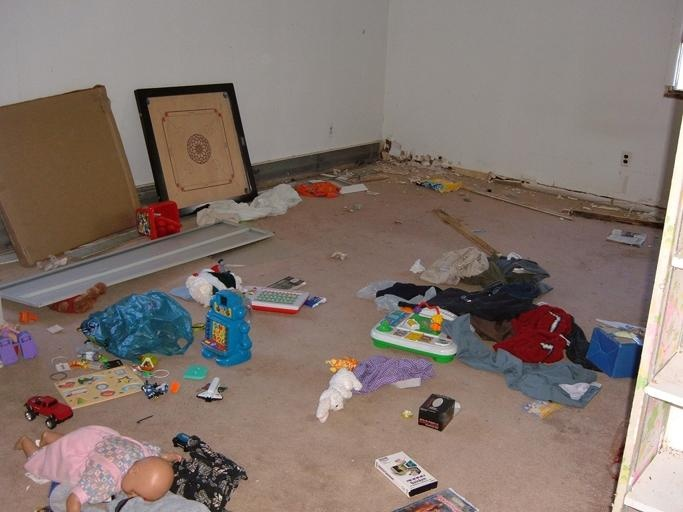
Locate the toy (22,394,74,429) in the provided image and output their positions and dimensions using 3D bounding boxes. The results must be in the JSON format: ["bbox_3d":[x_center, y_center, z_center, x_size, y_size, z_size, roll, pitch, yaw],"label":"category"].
[{"bbox_3d":[-1.465,0.754,2.441,0.207,0.088,0.130,18,28,25],"label":"toy"}]

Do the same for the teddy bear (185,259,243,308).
[{"bbox_3d":[-0.883,0.180,3.466,0.304,0.100,0.308,21,28,37],"label":"teddy bear"}]

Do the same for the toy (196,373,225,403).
[{"bbox_3d":[-0.698,0.717,2.626,0.158,0.042,0.172,-11,25,-21],"label":"toy"}]

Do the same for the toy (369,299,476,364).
[{"bbox_3d":[0.482,0.453,3.051,0.506,0.196,0.360,7,25,19],"label":"toy"}]

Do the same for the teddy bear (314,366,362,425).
[{"bbox_3d":[-0.017,0.726,2.541,0.170,0.083,0.249,1,53,30],"label":"teddy bear"}]

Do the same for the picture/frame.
[{"bbox_3d":[-1.515,-1.033,4.889,0.119,1.178,1.213,-8,26,42],"label":"picture/frame"}]

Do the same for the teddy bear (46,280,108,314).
[{"bbox_3d":[-1.797,0.277,3.335,0.202,0.113,0.270,-27,-3,5],"label":"teddy bear"}]

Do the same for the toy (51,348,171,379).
[{"bbox_3d":[-1.359,0.617,2.821,0.656,0.076,0.204,-1,23,1],"label":"toy"}]
